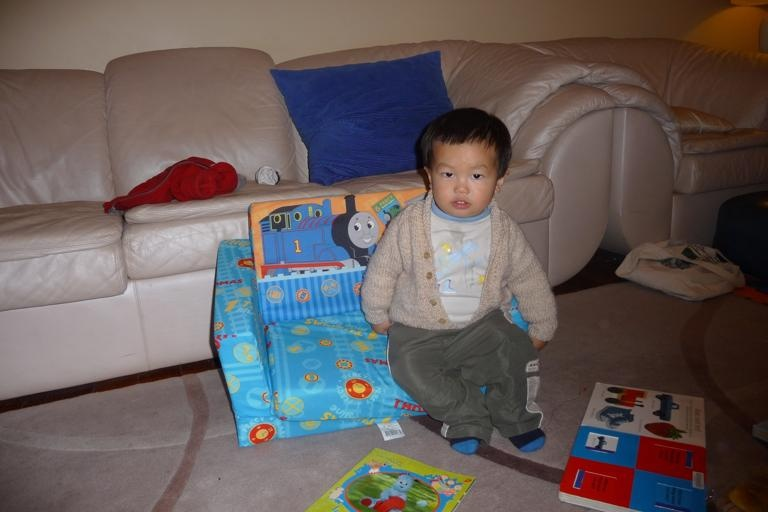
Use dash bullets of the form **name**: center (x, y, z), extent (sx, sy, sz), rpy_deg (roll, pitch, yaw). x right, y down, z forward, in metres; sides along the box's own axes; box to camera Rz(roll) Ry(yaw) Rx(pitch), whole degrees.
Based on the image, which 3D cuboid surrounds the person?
- **person**: center (0.287, 0.073, 1.859), extent (0.651, 1.031, 0.545), rpy_deg (14, 31, 34)

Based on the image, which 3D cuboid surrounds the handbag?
- **handbag**: center (1.399, -0.010, 2.605), extent (0.368, 0.108, 0.352), rpy_deg (-7, 18, -29)
